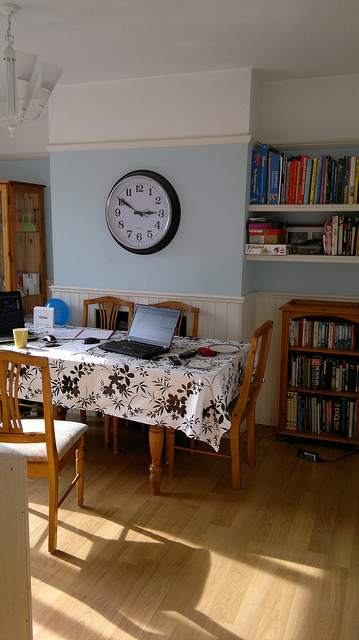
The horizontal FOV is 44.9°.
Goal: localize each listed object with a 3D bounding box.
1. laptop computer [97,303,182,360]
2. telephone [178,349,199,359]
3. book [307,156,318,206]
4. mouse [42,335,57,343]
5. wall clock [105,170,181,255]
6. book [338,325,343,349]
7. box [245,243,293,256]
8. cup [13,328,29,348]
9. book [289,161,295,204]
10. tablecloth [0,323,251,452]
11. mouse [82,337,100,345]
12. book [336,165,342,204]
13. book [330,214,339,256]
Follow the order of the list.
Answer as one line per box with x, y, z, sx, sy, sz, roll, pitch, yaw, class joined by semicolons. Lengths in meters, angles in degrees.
-0.224;0.045;2.412;0.400;0.246;0.402;6;6;23;laptop computer
0.044;0.180;2.324;0.039;0.020;0.078;13;18;35;telephone
0.856;-0.897;2.811;0.072;0.283;0.061;3;5;24;book
-0.753;0.114;2.517;0.040;0.026;0.054;12;-12;-29;mouse
-0.237;-0.770;3.076;0.534;0.631;0.067;-1;4;25;wall clock
1.049;0.118;2.844;0.026;0.151;0.022;3;4;22;book
0.579;-0.471;2.934;0.274;0.074;0.046;2;4;7;box
-0.866;0.099;2.371;0.082;0.112;0.092;0;1;-1;cup
0.736;-0.910;2.869;0.027;0.260;0.038;1;4;8;book
-0.232;0.356;2.388;1.127;0.425;0.628;3;5;19;tablecloth
-0.520;0.120;2.527;0.041;0.028;0.073;7;10;32;mouse
1.008;-0.856;2.747;0.029;0.226;0.037;2;4;20;book
0.996;-0.540;2.793;0.051;0.242;0.054;2;4;20;book
